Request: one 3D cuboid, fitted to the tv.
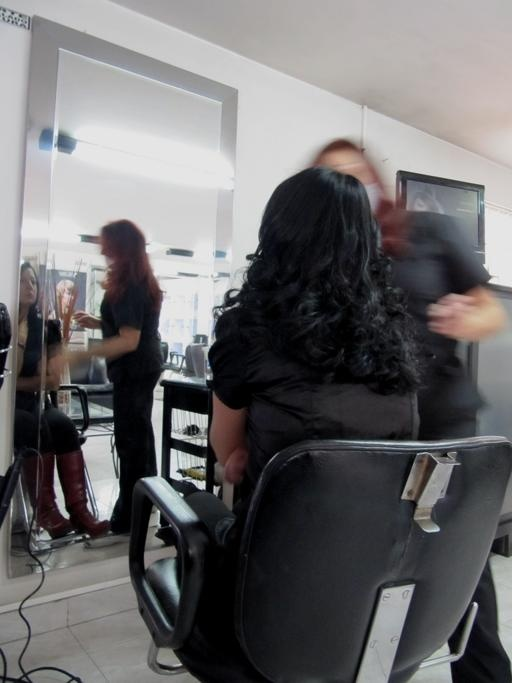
[{"bbox_3d":[1.008,-0.693,3.065,0.616,0.412,0.060,1,-1,-25],"label":"tv"}]
